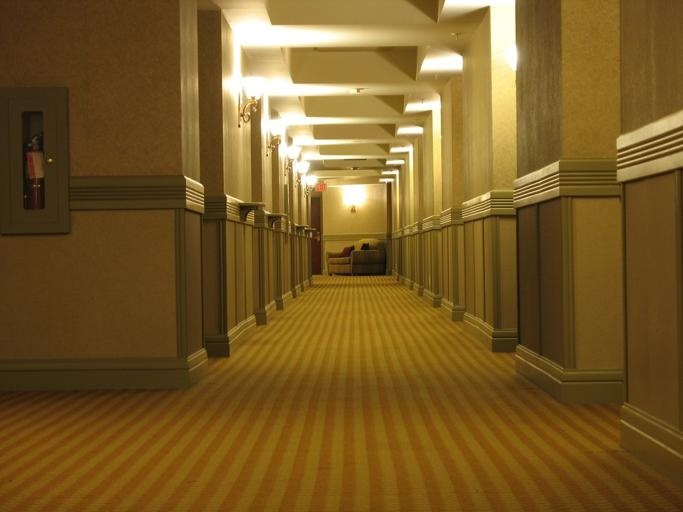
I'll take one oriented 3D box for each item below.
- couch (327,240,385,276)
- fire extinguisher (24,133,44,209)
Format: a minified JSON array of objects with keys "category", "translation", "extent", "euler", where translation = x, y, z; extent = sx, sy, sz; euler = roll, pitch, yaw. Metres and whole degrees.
[{"category":"couch","translation":[0.761,0.170,20.720],"extent":[1.312,1.476,1.904],"euler":[1,-3,-31]},{"category":"fire extinguisher","translation":[-2.629,-0.729,4.540],"extent":[0.176,0.647,0.097],"euler":[3,5,15]}]
